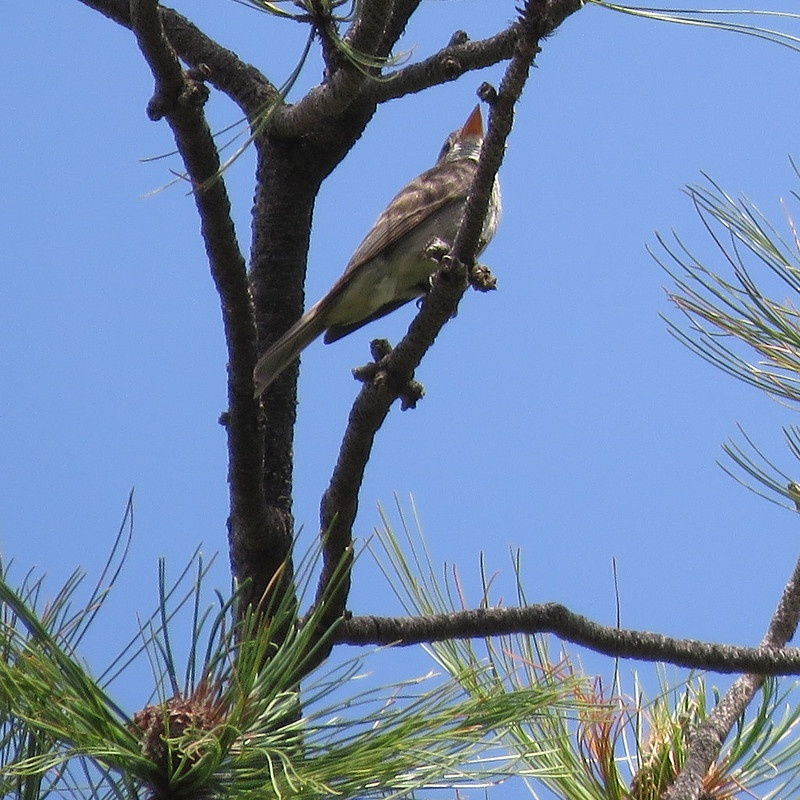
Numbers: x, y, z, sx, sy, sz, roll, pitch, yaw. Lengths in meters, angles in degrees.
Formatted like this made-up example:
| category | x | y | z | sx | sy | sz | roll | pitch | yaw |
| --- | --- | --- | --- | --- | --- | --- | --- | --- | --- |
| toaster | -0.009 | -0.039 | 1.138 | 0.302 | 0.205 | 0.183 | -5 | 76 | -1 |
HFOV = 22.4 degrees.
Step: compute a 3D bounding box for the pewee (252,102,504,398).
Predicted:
| category | x | y | z | sx | sy | sz | roll | pitch | yaw |
| --- | --- | --- | --- | --- | --- | --- | --- | --- | --- |
| pewee | -0.029 | -0.262 | 3.808 | 0.599 | 0.276 | 0.186 | -33 | -38 | -4 |
